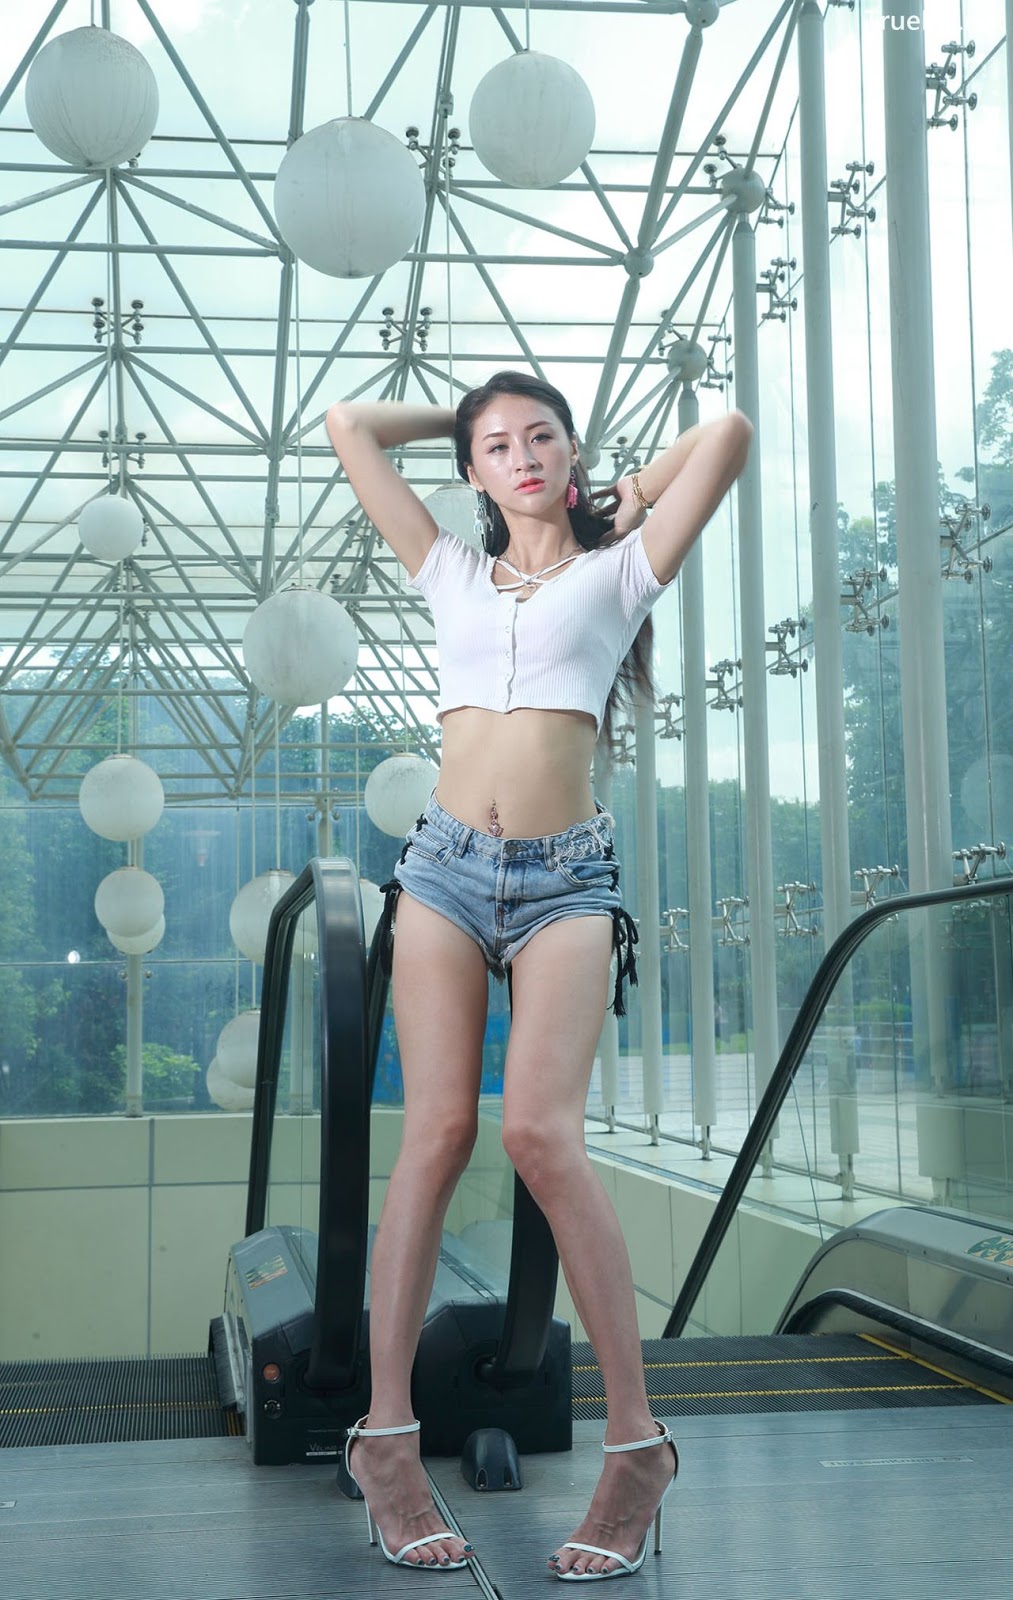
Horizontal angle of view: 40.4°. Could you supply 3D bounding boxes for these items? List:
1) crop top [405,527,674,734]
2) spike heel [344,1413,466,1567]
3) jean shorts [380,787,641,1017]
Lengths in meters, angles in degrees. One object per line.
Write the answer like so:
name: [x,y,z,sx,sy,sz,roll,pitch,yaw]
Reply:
crop top: [0.083,-0.277,1.969,0.431,0.374,0.237,2,-30,7]
spike heel: [-0.107,0.783,1.578,0.077,0.099,0.222,4,1,-26]
jean shorts: [0.035,0.111,1.839,0.418,0.327,0.245,3,-18,13]
